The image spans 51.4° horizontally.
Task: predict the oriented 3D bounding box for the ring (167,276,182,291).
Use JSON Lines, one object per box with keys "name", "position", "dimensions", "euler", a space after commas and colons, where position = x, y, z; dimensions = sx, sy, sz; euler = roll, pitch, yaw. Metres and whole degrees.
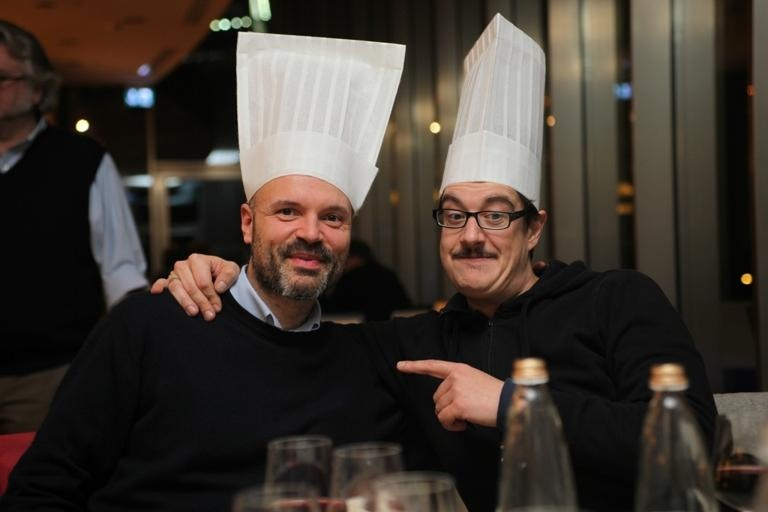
{"name": "ring", "position": [-0.728, 0.091, 2.776], "dimensions": [0.034, 0.048, 0.018], "euler": [-2, -26, -15]}
